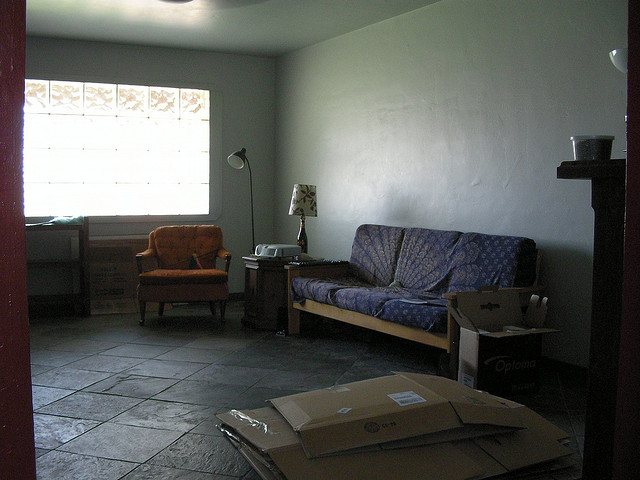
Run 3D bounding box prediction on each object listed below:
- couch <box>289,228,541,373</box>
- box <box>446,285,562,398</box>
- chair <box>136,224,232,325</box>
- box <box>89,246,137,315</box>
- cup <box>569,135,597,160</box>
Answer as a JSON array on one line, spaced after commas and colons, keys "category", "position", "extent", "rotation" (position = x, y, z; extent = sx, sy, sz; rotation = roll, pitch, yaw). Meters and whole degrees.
[{"category": "couch", "position": [0.663, 0.419, 3.889], "extent": [1.025, 0.951, 1.907], "rotation": [-4, 6, -42]}, {"category": "box", "position": [1.120, 0.621, 2.973], "extent": [0.561, 0.559, 0.484], "rotation": [0, 2, -6]}, {"category": "chair", "position": [-1.389, 0.342, 5.011], "extent": [1.115, 0.980, 1.117], "rotation": [1, 2, 24]}, {"category": "box", "position": [-2.493, 0.441, 5.472], "extent": [0.426, 0.784, 0.578], "rotation": [-4, -2, 30]}, {"category": "cup", "position": [0.941, -0.326, 1.760], "extent": [0.099, 0.082, 0.096], "rotation": [0, 6, 0]}]
